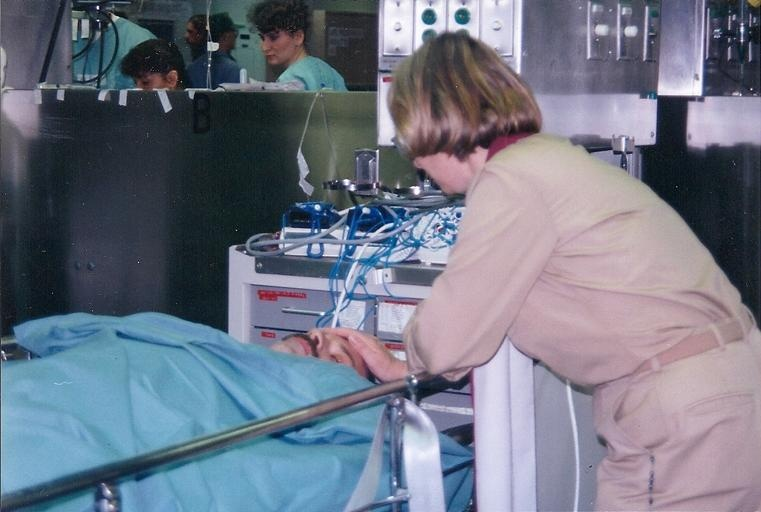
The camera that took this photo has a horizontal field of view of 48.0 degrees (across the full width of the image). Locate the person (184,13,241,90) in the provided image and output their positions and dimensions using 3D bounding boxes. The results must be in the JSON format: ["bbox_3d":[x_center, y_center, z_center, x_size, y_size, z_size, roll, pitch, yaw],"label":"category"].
[{"bbox_3d":[-1.212,-1.473,6.170,0.361,0.616,0.715,-1,4,-13],"label":"person"}]
